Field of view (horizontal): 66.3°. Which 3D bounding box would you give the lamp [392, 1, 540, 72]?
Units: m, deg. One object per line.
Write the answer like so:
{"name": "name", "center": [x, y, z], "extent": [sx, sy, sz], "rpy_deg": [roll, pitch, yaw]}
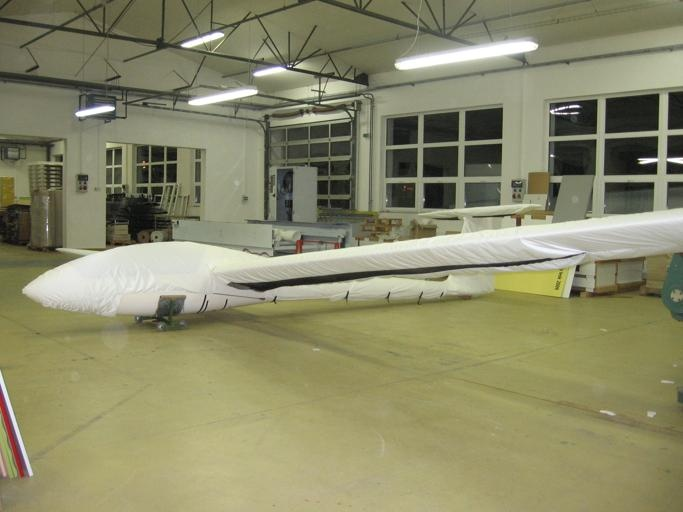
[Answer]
{"name": "lamp", "center": [1.812, -2.968, 7.546], "extent": [2.135, 0.236, 0.529], "rpy_deg": [7, 10, 42]}
